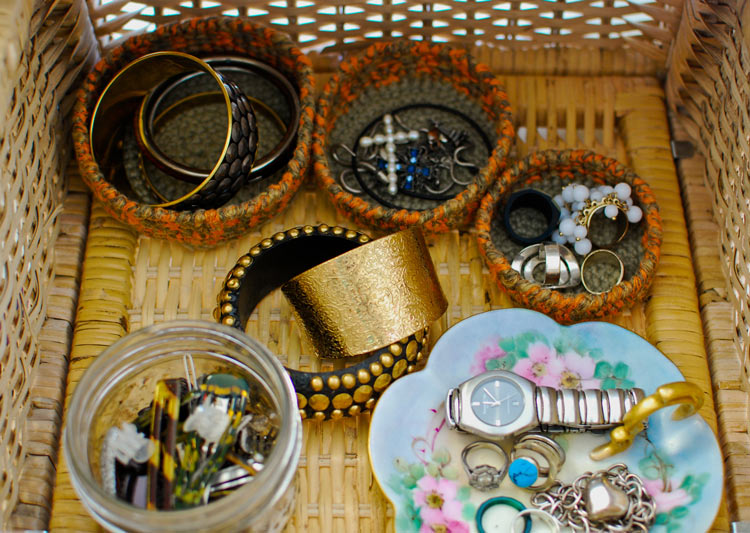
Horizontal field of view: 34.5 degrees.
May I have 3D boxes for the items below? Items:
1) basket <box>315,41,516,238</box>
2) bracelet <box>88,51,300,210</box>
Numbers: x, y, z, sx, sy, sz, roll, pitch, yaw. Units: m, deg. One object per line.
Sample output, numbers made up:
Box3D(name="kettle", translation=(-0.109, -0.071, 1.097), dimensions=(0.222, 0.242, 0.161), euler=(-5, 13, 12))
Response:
Box3D(name="basket", translation=(0.061, -0.202, 1.824), dimensions=(0.298, 0.274, 0.190), euler=(-9, 15, 8))
Box3D(name="bracelet", translation=(-0.265, -0.210, 1.797), dimensions=(0.306, 0.232, 0.176), euler=(-12, 15, -4))
